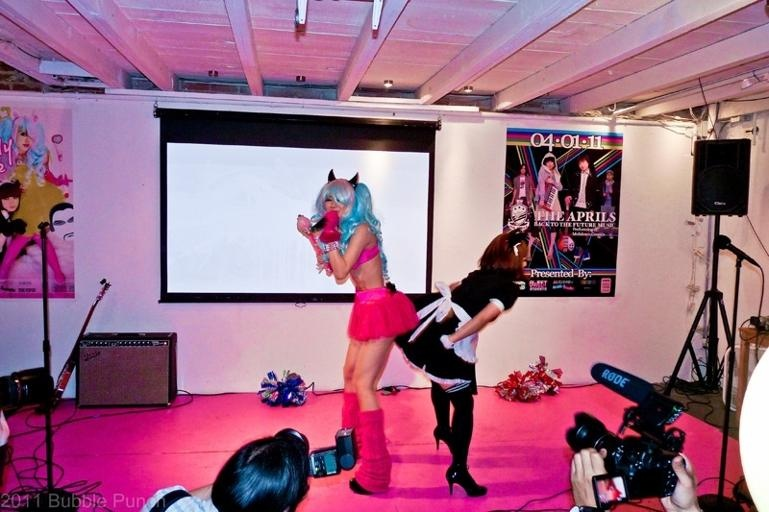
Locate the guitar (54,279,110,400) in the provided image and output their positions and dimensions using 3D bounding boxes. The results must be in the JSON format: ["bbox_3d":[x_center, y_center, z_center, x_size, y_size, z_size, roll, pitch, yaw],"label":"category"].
[{"bbox_3d":[-2.910,0.838,5.441,0.523,1.242,0.723,-3,6,-30],"label":"guitar"}]

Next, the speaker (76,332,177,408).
[{"bbox_3d":[-2.578,0.978,5.785,1.115,0.906,0.652,0,-4,-8],"label":"speaker"}]

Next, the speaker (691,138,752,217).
[{"bbox_3d":[3.164,-0.751,5.299,0.464,0.709,0.244,2,6,21],"label":"speaker"}]

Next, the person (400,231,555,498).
[{"bbox_3d":[0.598,0.836,4.498,1.016,2.072,0.453,1,6,4],"label":"person"}]

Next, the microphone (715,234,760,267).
[{"bbox_3d":[3.526,-0.061,5.599,0.406,0.138,0.124,37,-7,13],"label":"microphone"}]

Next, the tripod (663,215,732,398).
[{"bbox_3d":[3.186,0.550,5.711,0.525,1.952,1.868,4,7,31],"label":"tripod"}]
